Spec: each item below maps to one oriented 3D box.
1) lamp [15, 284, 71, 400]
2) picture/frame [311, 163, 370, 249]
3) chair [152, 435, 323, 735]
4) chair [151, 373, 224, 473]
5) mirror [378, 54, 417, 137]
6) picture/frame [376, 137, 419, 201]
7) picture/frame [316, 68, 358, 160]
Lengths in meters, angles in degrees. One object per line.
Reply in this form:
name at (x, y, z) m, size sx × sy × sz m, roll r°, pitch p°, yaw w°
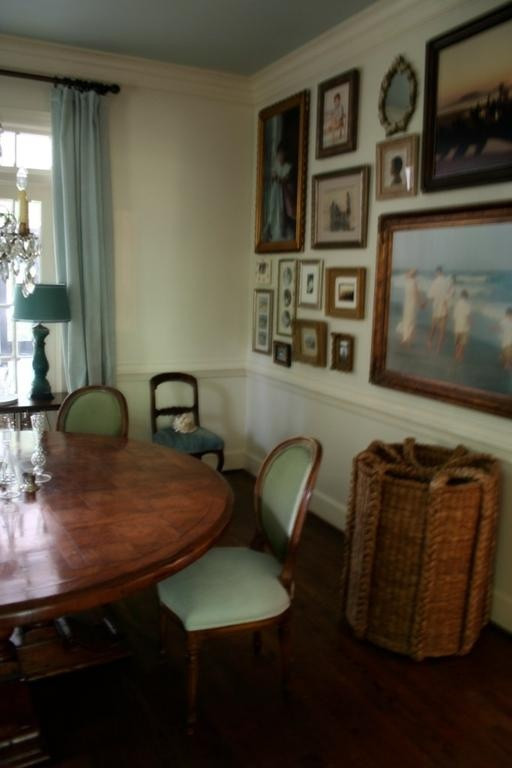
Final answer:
lamp at (-1.265, -0.247, 3.150) m, size 0.240 × 0.630 × 0.259 m, roll -1°, pitch 6°, yaw -29°
picture/frame at (0.474, -0.984, 2.961) m, size 0.029 × 0.436 × 0.429 m, roll -6°, pitch 17°, yaw -25°
chair at (-0.138, 0.540, 2.133) m, size 0.620 × 1.311 × 0.600 m, roll 0°, pitch 7°, yaw -25°
chair at (-0.492, 0.373, 3.672) m, size 0.413 × 0.932 × 0.489 m, roll -4°, pitch 6°, yaw -24°
mirror at (0.648, -1.325, 2.493) m, size 0.053 × 0.340 × 0.268 m, roll 0°, pitch 4°, yaw -19°
picture/frame at (0.665, -1.006, 2.508) m, size 0.025 × 0.328 × 0.269 m, roll -6°, pitch 11°, yaw -30°
picture/frame at (0.439, -1.470, 2.966) m, size 0.060 × 0.447 × 0.411 m, roll 0°, pitch 5°, yaw -22°
